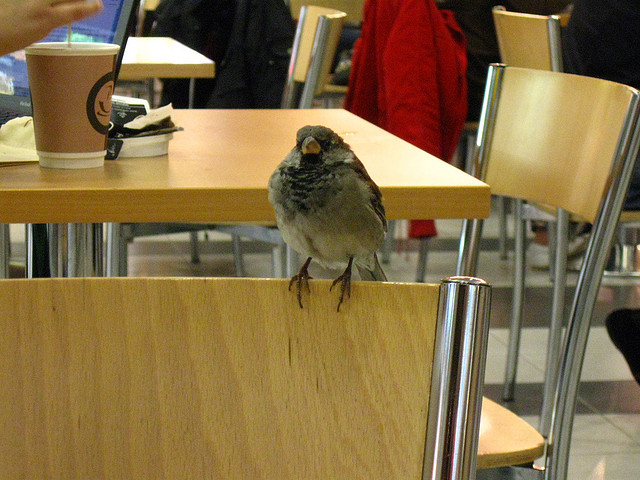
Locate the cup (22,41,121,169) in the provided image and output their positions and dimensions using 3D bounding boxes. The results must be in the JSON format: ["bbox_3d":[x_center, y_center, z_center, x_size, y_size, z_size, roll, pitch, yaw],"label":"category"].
[{"bbox_3d":[-0.363,-0.195,1.318,0.117,0.176,0.135,1,7,-2],"label":"cup"}]

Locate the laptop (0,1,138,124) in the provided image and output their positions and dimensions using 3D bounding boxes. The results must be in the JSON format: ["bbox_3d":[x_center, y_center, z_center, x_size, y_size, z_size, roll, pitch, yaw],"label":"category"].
[{"bbox_3d":[-0.438,-0.322,1.571,0.193,0.196,0.238,1,15,-30],"label":"laptop"}]

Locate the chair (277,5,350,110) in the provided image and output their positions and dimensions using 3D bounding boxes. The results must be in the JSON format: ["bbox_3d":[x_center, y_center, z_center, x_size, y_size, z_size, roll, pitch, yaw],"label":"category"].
[{"bbox_3d":[-0.017,-0.491,2.443,0.116,0.191,0.319,4,2,-10],"label":"chair"}]

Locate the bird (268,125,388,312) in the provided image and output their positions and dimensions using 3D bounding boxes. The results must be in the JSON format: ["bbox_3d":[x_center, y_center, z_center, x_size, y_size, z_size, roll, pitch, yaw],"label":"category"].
[{"bbox_3d":[0.028,-0.056,1.375,0.143,0.287,0.271,6,16,21],"label":"bird"}]
